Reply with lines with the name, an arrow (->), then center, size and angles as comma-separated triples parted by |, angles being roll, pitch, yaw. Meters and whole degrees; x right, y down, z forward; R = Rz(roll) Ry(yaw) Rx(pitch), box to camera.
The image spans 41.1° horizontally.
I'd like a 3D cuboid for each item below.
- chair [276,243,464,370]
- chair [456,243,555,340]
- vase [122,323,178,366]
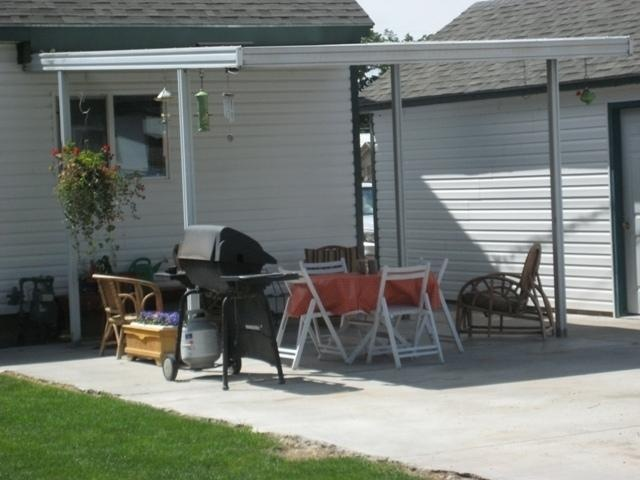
chair -> 0.638, 0.832, 10.921 | 1.967, 1.351, 2.441 | 0, 6, 9
chair -> 2.698, 0.677, 12.229 | 1.318, 1.371, 2.013 | 1, 6, 16
vase -> -2.049, 1.289, 10.683 | 0.762, 0.477, 0.474 | 1, 0, 41
